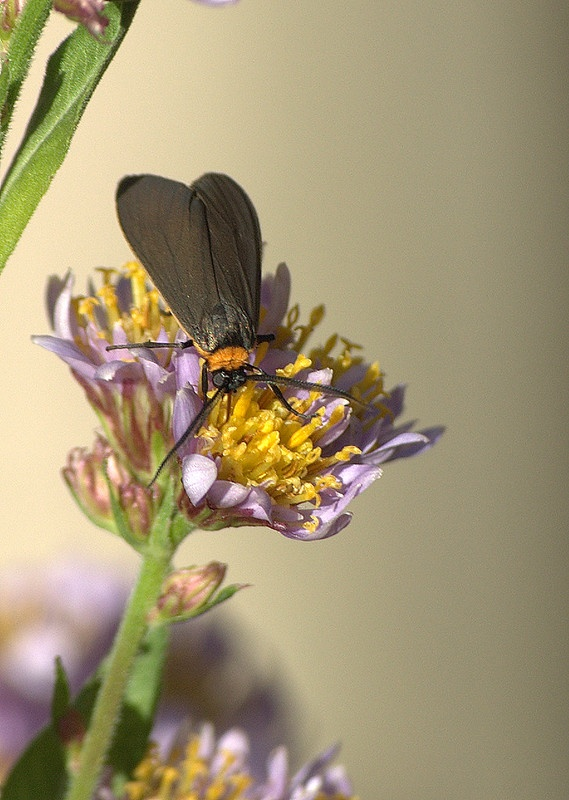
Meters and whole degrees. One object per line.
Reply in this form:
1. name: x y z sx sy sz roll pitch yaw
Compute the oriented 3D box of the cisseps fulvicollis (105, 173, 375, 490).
1. cisseps fulvicollis: -0.030 -0.037 0.497 0.169 0.174 0.054 -6 -18 -19
